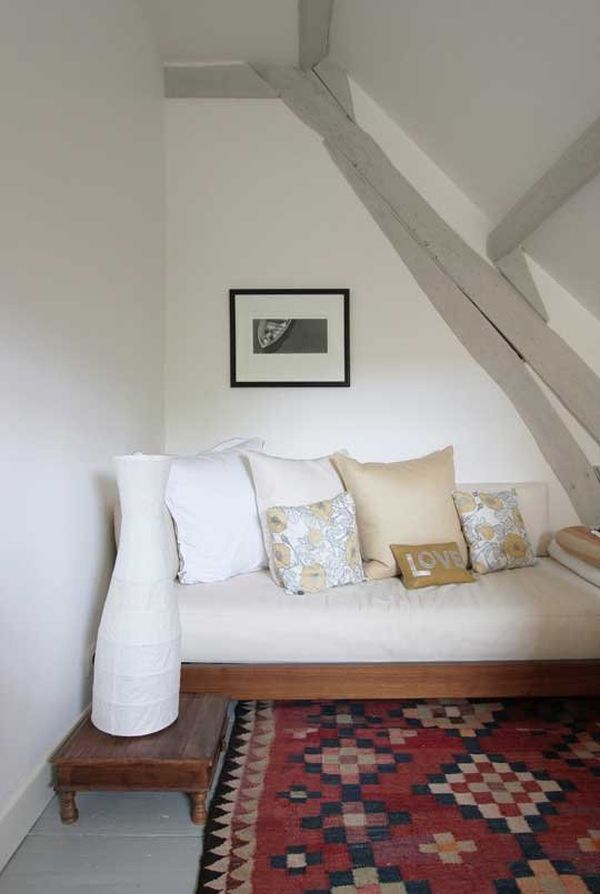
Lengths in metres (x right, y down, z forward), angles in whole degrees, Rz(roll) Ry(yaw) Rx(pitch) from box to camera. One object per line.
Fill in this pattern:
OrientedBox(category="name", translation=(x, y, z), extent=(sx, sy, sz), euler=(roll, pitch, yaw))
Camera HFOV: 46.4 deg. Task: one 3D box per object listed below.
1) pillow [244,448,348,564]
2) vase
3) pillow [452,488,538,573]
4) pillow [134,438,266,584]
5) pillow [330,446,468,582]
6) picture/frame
OrientedBox(category="pillow", translation=(-0.030, 0.210, 2.511), extent=(0.376, 0.367, 0.111), euler=(-4, -11, -41))
OrientedBox(category="vase", translation=(-0.401, 0.353, 1.715), extent=(0.227, 0.668, 0.183), euler=(-3, 5, -28))
OrientedBox(category="pillow", translation=(0.722, 0.305, 2.634), extent=(0.336, 0.322, 0.094), euler=(-13, -17, -27))
OrientedBox(category="pillow", translation=(-0.347, 0.243, 2.476), extent=(0.118, 0.396, 0.407), euler=(-17, -6, 40))
OrientedBox(category="pillow", translation=(0.406, 0.234, 2.644), extent=(0.472, 0.431, 0.241), euler=(-9, 8, -15))
OrientedBox(category="picture/frame", translation=(-0.051, -0.488, 3.000), extent=(0.400, 0.343, 0.026), euler=(-1, 5, 2))
